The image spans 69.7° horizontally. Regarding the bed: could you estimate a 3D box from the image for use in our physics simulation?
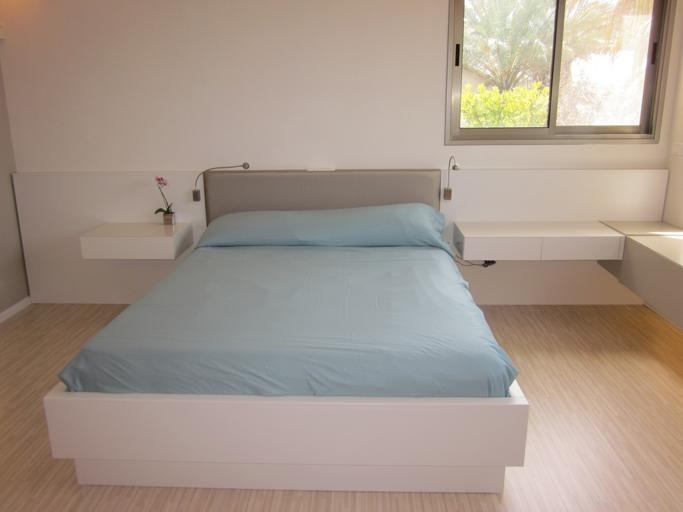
[{"bbox_3d":[-0.228,0.225,3.159,2.220,1.243,2.142,-1,19,3],"label":"bed"}]

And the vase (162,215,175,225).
[{"bbox_3d":[-1.403,-0.289,4.004,0.077,0.081,0.080,5,12,13],"label":"vase"}]
